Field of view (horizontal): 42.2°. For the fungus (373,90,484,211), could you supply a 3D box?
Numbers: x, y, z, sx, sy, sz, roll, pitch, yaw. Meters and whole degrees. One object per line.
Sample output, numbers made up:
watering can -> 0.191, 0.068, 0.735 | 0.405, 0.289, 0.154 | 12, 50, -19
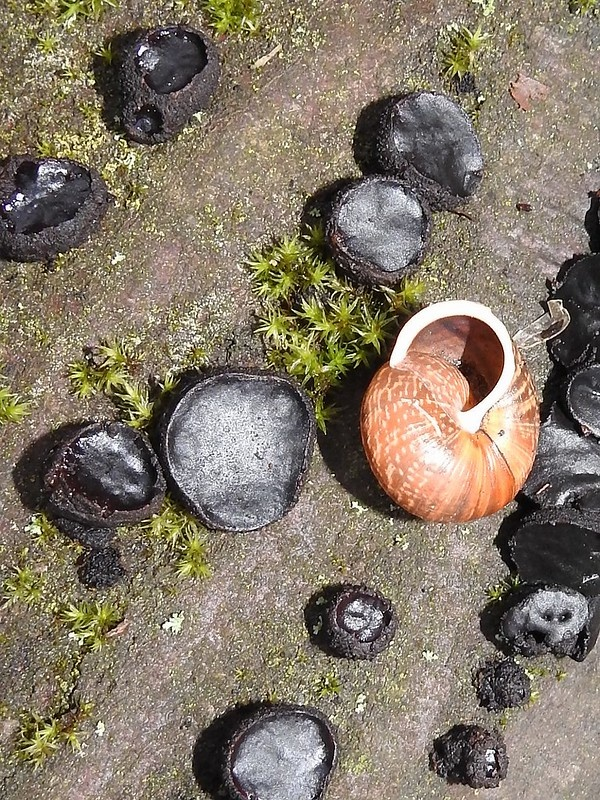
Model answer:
fungus -> 0.949, -1.733, 5.539 | 0.818, 0.341, 0.749 | 41, 81, -18

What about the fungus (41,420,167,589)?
fungus -> -1.327, 0.670, 5.137 | 0.951, 0.495, 0.833 | -13, 54, -5

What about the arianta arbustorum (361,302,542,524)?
arianta arbustorum -> 0.891, 0.088, 4.871 | 1.113, 0.777, 1.476 | 18, 74, 6

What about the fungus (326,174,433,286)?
fungus -> 0.542, -1.171, 5.326 | 0.503, 0.480, 0.553 | -33, 74, -12

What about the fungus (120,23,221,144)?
fungus -> -0.902, -2.128, 5.231 | 0.507, 0.568, 0.617 | 28, 54, 9
